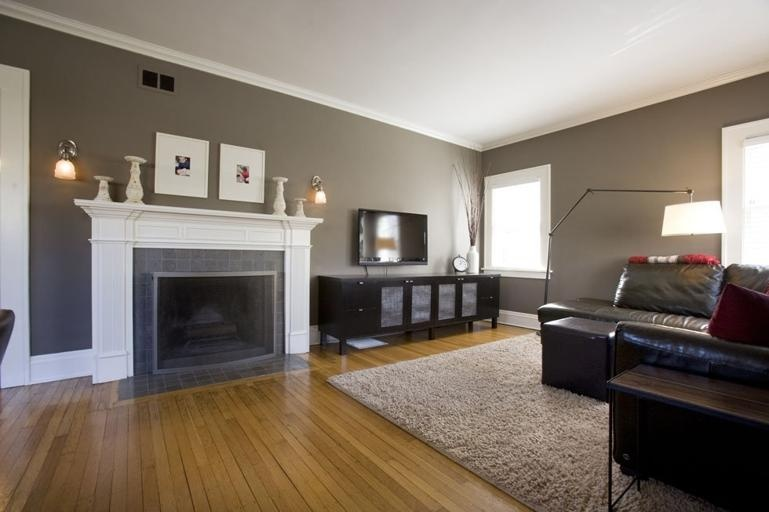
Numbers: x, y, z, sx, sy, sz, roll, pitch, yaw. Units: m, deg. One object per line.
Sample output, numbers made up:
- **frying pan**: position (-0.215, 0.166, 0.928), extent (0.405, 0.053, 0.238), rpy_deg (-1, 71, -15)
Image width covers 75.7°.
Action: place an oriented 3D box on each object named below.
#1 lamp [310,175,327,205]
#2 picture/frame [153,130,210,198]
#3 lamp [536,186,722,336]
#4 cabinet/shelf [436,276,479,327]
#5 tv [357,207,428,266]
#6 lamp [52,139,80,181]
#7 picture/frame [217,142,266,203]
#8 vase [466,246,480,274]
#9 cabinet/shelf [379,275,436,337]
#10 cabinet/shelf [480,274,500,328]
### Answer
- **lamp**: position (-0.721, -0.753, 5.612), extent (0.196, 0.333, 0.171), rpy_deg (-1, 7, -26)
- **picture/frame**: position (-2.047, -0.911, 4.905), extent (0.685, 0.901, 0.057), rpy_deg (2, -4, -34)
- **lamp**: position (2.573, 0.043, 5.368), extent (1.818, 1.605, 0.561), rpy_deg (-1, -3, 28)
- **cabinet/shelf**: position (0.857, 0.551, 6.246), extent (0.756, 0.531, 0.263), rpy_deg (-1, 3, -35)
- **tv**: position (0.117, -0.209, 6.144), extent (1.073, 0.668, 0.090), rpy_deg (3, 5, 34)
- **lamp**: position (-2.868, -0.874, 4.439), extent (0.188, 0.371, 0.183), rpy_deg (-2, 7, -33)
- **picture/frame**: position (-1.529, -0.871, 5.175), extent (0.649, 0.847, 0.070), rpy_deg (2, -1, -34)
- **vase**: position (1.209, 0.052, 6.741), extent (0.156, 0.355, 0.369), rpy_deg (2, 6, 8)
- **cabinet/shelf**: position (0.195, 0.572, 5.833), extent (0.855, 0.622, 0.286), rpy_deg (-1, 4, -33)
- **cabinet/shelf**: position (1.383, 0.599, 6.493), extent (0.116, 0.704, 0.428), rpy_deg (7, 8, 41)
